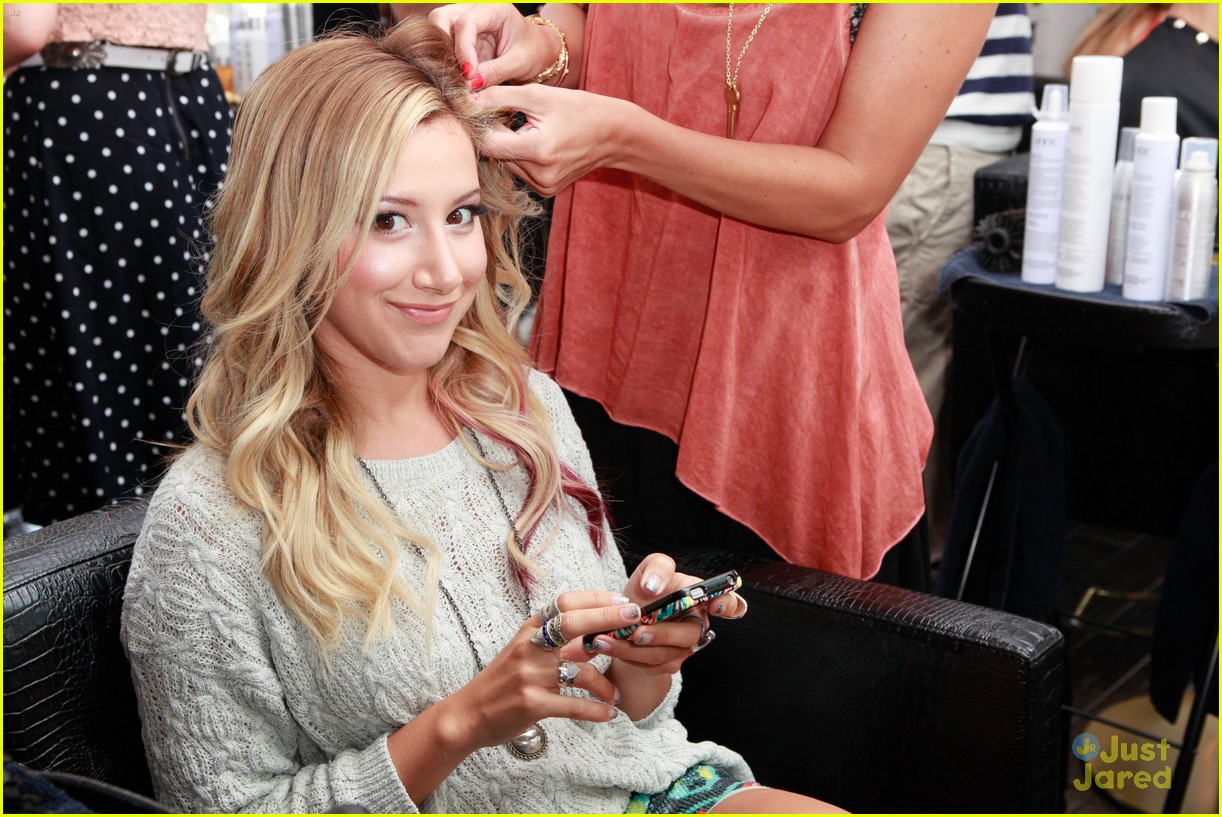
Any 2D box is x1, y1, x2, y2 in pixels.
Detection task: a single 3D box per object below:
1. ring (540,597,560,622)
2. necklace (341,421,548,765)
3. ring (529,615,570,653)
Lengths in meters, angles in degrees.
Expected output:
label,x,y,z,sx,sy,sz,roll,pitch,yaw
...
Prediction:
label,x,y,z,sx,sy,sz,roll,pitch,yaw
ring,-0.085,0.260,1.299,0.007,0.026,0.027,36,20,-8
necklace,-0.212,0.212,1.476,0.167,0.065,0.574,-21,62,-16
ring,-0.077,0.280,1.254,0.025,0.039,0.050,6,-22,-27
